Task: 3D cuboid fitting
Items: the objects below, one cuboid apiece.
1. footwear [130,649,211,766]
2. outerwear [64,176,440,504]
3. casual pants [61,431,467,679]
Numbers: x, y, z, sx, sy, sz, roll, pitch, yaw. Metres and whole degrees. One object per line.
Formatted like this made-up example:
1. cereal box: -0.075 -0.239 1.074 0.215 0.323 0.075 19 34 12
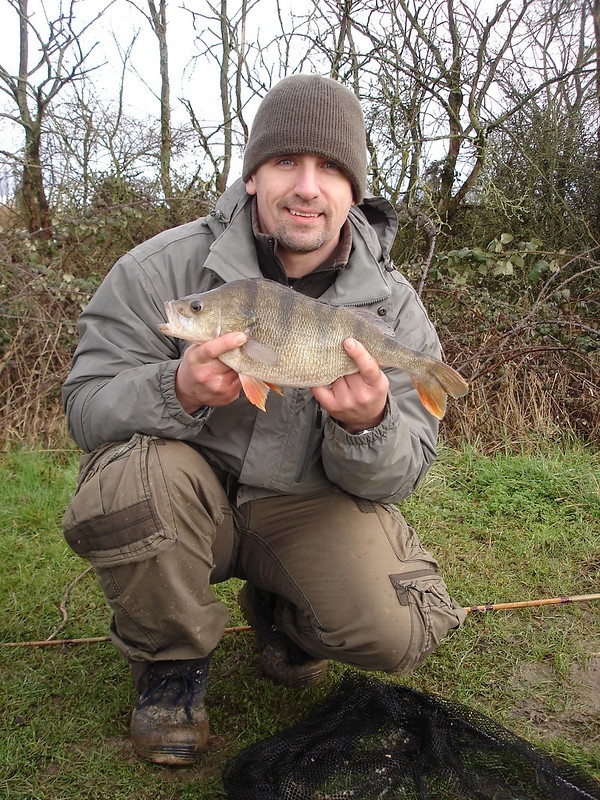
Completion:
1. footwear: -0.398 0.942 2.005 0.228 0.233 0.227 0 15 -9
2. outerwear: -0.127 -0.226 2.342 1.371 1.161 0.740 8 -1 -6
3. casual pants: -0.161 0.576 2.291 1.164 0.606 1.339 8 -17 28
